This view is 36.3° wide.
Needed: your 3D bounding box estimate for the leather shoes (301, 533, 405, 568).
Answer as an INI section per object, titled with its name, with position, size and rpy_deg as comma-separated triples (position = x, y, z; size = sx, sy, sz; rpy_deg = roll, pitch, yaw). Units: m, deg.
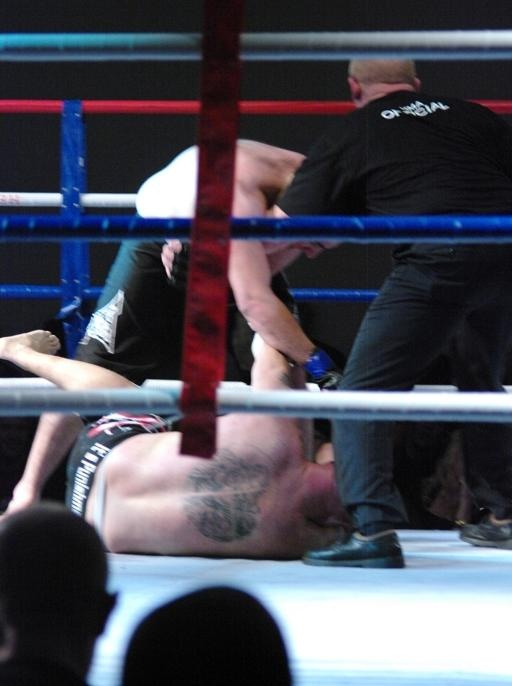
[leather shoes]
position = 0.152, 0.347, 1.298
size = 0.179, 0.053, 0.056
rpy_deg = 2, 61, 1
